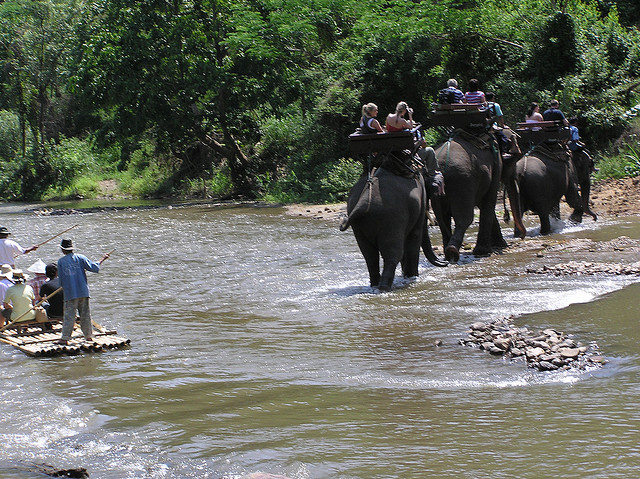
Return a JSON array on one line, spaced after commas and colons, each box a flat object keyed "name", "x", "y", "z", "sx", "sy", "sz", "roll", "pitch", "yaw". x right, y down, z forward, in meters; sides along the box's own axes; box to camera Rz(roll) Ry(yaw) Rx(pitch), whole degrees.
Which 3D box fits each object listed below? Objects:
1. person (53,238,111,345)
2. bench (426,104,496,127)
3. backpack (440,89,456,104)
[{"name": "person", "x": -4.341, "y": 0.881, "z": 18.743, "sx": 0.998, "sy": 1.804, "sz": 0.816, "roll": 0, "pitch": 1, "yaw": 33}, {"name": "bench", "x": 3.039, "y": -2.672, "z": 23.056, "sx": 1.211, "sy": 0.527, "sz": 0.395, "roll": -5, "pitch": 3, "yaw": -4}, {"name": "backpack", "x": 2.760, "y": -3.110, "z": 23.132, "sx": 0.397, "sy": 0.297, "sz": 0.258, "roll": -1, "pitch": 7, "yaw": 3}]
